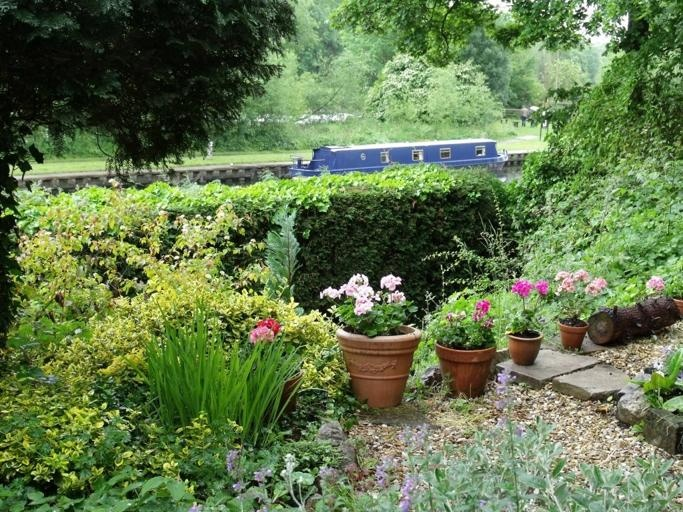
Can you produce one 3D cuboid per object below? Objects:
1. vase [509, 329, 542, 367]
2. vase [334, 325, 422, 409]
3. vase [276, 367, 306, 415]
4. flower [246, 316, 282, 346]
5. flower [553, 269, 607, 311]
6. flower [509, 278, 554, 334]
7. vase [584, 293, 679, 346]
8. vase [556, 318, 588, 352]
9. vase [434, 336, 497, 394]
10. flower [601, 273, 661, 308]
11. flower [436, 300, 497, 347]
[{"bbox_3d":[1.433,0.716,5.197,0.274,0.240,0.290,9,13,37],"label":"vase"},{"bbox_3d":[0.263,0.790,4.846,0.529,0.430,0.545,0,-4,1],"label":"vase"},{"bbox_3d":[-0.324,0.870,4.239,0.088,0.373,0.057,17,37,-6],"label":"vase"},{"bbox_3d":[-0.504,0.490,4.306,0.170,0.123,0.174,-18,14,-5],"label":"flower"},{"bbox_3d":[1.970,0.330,5.644,0.381,0.405,0.435,5,4,-12],"label":"flower"},{"bbox_3d":[1.670,0.450,5.786,0.331,0.636,0.386,1,10,7],"label":"flower"},{"bbox_3d":[2.451,0.546,5.543,0.738,0.333,0.226,-6,16,-13],"label":"vase"},{"bbox_3d":[1.925,0.653,5.491,0.247,0.206,0.249,-3,11,-11],"label":"vase"},{"bbox_3d":[0.905,0.798,4.795,0.354,0.286,0.364,0,-3,1],"label":"vase"},{"bbox_3d":[2.666,0.321,6.048,0.336,0.208,0.516,-12,2,31],"label":"flower"},{"bbox_3d":[0.957,0.488,4.973,0.467,0.350,0.464,1,9,32],"label":"flower"}]
